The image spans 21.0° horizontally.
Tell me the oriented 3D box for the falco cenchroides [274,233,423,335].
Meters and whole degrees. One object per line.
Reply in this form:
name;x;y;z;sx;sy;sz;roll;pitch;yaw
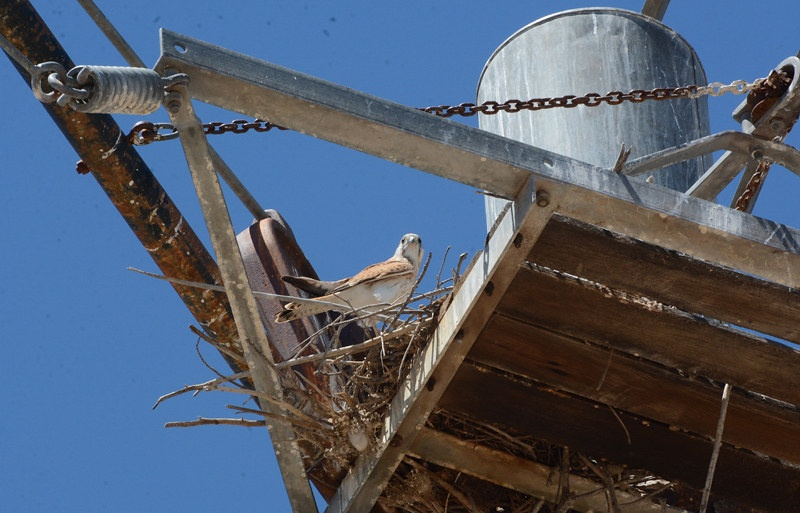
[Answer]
falco cenchroides;-0.402;0.277;14.256;0.888;0.534;0.282;19;-36;-27

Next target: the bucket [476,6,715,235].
bucket;1.310;-0.827;15.396;1.792;1.897;1.718;1;-47;1
